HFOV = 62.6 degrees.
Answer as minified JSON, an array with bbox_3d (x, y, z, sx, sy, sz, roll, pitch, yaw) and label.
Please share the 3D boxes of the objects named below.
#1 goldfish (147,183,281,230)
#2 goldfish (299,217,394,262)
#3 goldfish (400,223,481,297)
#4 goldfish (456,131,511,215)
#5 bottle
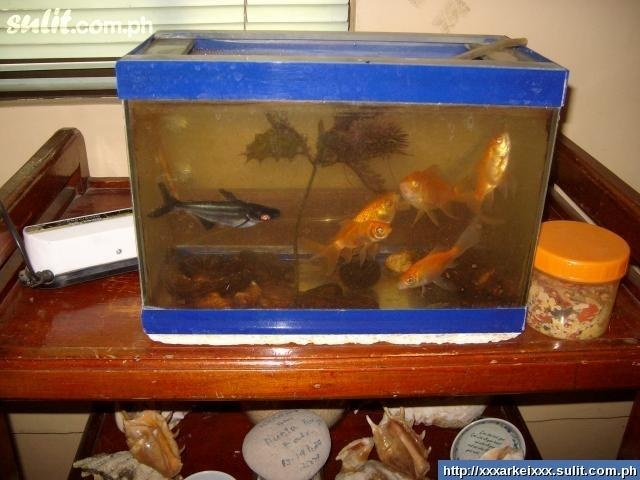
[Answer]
[{"bbox_3d":[-0.188,-0.057,0.957,0.211,0.078,0.047,4,29,-3],"label":"goldfish"},{"bbox_3d":[0.050,-0.004,0.967,0.087,0.072,0.139,23,31,35],"label":"goldfish"},{"bbox_3d":[0.231,0.045,0.998,0.193,0.072,0.039,-29,28,-12],"label":"goldfish"},{"bbox_3d":[0.297,-0.118,0.931,0.089,0.135,0.031,-16,35,-19],"label":"goldfish"},{"bbox_3d":[0.492,0.085,1.153,0.284,0.234,0.179,0,25,-3],"label":"bottle"}]
